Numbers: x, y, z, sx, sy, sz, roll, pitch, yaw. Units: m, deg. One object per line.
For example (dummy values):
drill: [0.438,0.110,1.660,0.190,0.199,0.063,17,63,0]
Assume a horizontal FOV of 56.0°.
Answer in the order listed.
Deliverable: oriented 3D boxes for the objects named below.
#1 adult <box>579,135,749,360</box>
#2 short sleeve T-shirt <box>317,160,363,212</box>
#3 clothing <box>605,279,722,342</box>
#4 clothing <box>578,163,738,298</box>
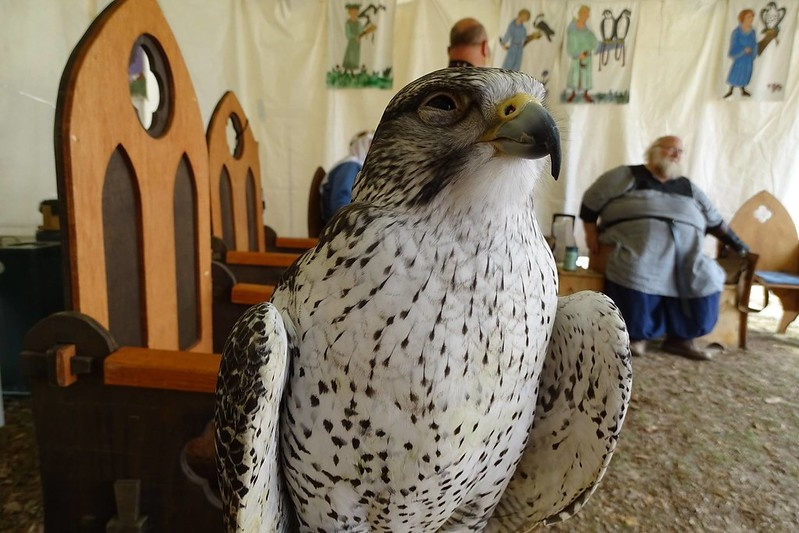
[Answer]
adult: [2.175,-0.182,6.366,1.166,1.906,0.786,5,-9,17]
short sleeve T-shirt: [-0.456,-0.528,5.959,0.326,0.543,0.664,4,-11,-4]
clothing: [2.177,0.369,6.241,0.832,0.390,0.669,-1,0,3]
clothing: [2.243,-0.274,6.313,1.240,1.197,0.685,7,-14,8]
